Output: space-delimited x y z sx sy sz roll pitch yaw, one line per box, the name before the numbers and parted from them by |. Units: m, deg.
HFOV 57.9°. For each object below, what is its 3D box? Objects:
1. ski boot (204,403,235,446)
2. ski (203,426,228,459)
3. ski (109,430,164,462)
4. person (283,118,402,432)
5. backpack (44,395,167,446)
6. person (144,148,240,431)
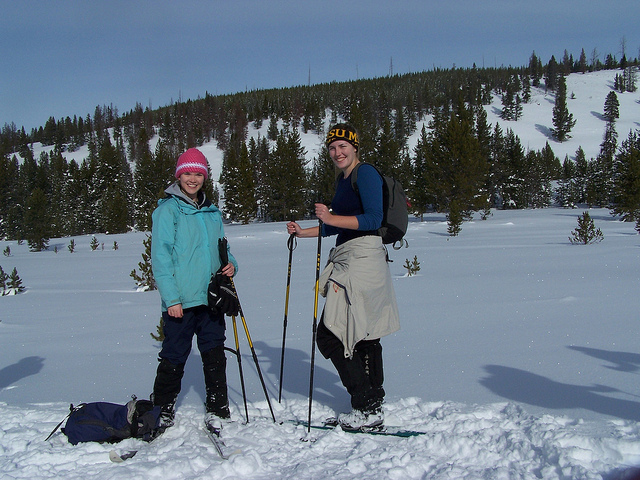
ski boot | -1.199 2.174 6.863 0.156 0.253 0.520 7 -10 -28
ski | -1.222 2.320 6.656 0.124 0.019 0.391 -33 44 -16
ski | -2.132 2.339 6.529 0.311 0.084 0.198 -35 14 -31
person | 0.425 0.407 7.018 1.066 3.569 1.012 -1 10 1
backpack | -2.410 2.121 6.743 0.858 0.410 0.611 1 0 -12
person | -1.553 0.547 7.049 1.025 3.253 0.965 -3 11 -10
